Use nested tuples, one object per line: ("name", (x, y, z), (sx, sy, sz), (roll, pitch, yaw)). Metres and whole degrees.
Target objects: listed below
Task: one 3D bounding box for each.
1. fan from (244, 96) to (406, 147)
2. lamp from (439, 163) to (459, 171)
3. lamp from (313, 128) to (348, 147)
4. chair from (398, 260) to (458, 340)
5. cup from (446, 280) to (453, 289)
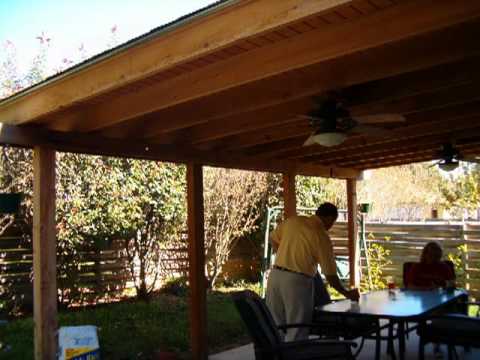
("fan", (0.775, -0.524, 3.571), (0.992, 0.366, 1.014), (-13, 16, -43))
("lamp", (2.920, -0.200, 5.515), (0.235, 0.140, 0.294), (7, 6, 23))
("lamp", (0.798, -0.384, 3.502), (0.281, 0.142, 0.234), (6, 6, 8))
("chair", (2.379, 1.354, 5.037), (0.705, 0.738, 0.678), (12, -30, -1))
("cup", (2.438, 1.210, 4.557), (0.080, 0.078, 0.077), (1, -7, 0))
